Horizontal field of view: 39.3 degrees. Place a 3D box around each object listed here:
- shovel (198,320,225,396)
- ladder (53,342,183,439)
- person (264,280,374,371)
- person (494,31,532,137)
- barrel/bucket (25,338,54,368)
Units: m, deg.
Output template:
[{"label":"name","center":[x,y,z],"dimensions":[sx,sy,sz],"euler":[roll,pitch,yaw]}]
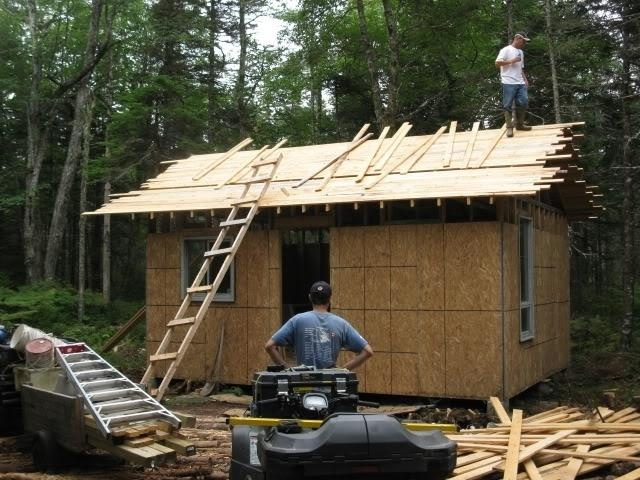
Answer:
[{"label":"shovel","center":[-2.322,2.914,20.044],"dimensions":[0.364,2.129,0.515],"euler":[16,-19,-30]},{"label":"ladder","center":[-3.808,2.765,16.175],"dimensions":[1.144,0.231,2.991],"euler":[-3,23,-43]},{"label":"person","center":[-0.007,1.356,15.058],"dimensions":[1.559,1.500,1.151],"euler":[3,0,-3]},{"label":"person","center":[4.380,-3.416,19.871],"dimensions":[0.670,2.262,0.808],"euler":[-2,-5,24]},{"label":"barrel/bucket","center":[-5.330,2.184,16.945],"dimensions":[0.638,0.563,0.566],"euler":[3,15,4]}]
